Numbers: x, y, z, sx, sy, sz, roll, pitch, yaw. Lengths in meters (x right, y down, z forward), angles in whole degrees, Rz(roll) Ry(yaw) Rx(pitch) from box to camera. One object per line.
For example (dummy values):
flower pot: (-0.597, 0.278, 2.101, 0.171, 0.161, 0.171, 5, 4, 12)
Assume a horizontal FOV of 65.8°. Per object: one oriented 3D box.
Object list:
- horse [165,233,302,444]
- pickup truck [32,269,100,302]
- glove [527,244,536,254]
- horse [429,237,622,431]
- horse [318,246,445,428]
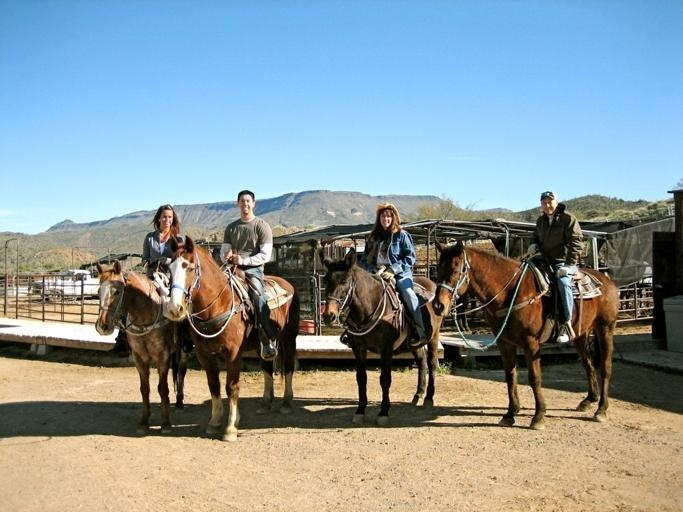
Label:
horse: (-1.672, 1.225, 8.186, 0.836, 3.031, 2.894, 0, 2, 18)
pickup truck: (-13.635, 1.564, 26.187, 1.749, 1.168, 2.451, 1, -7, -18)
glove: (3.219, -0.106, 8.999, 0.143, 0.147, 0.149, 2, 4, 11)
horse: (3.194, 1.283, 8.618, 3.672, 2.937, 1.123, 3, -2, -18)
horse: (0.817, 1.379, 9.084, 1.092, 2.647, 3.428, -4, -8, 36)
